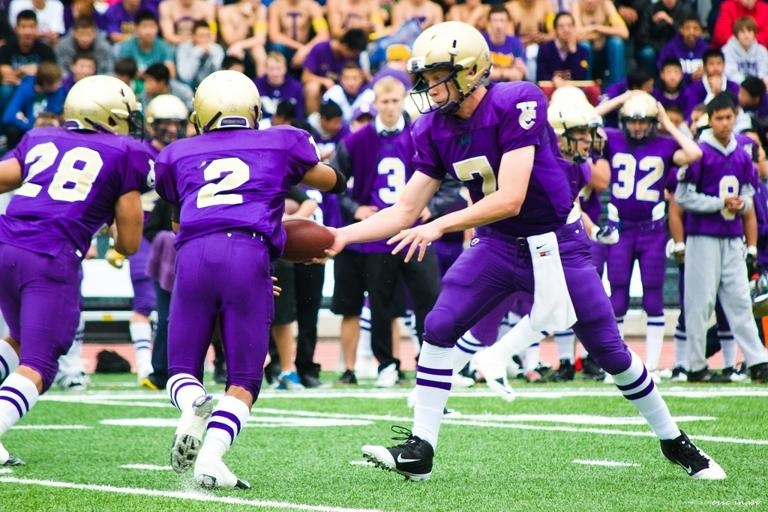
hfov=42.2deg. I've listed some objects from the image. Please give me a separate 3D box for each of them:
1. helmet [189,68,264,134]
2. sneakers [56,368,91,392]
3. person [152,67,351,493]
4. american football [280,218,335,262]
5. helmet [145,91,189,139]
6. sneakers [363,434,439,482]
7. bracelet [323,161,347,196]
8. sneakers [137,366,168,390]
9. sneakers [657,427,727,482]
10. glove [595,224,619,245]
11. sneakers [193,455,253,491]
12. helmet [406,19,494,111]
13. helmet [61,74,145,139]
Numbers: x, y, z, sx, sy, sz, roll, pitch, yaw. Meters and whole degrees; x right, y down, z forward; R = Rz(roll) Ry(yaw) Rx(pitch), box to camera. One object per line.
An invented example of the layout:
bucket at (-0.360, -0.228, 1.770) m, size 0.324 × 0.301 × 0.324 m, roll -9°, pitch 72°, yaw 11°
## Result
helmet at (-0.862, -0.820, 5.379) m, size 0.288 × 0.314 × 0.373 m, roll -4°, pitch 34°, yaw -7°
sneakers at (-2.708, 1.077, 8.637) m, size 0.161 × 0.166 × 0.221 m, roll 4°, pitch -2°, yaw 3°
person at (-0.808, 0.100, 5.336) m, size 0.868 × 2.251 × 0.434 m, roll 2°, pitch -2°, yaw -14°
american football at (-0.423, -0.108, 5.586) m, size 0.305 × 0.206 × 0.212 m, roll 2°, pitch 9°, yaw 23°
helmet at (-1.856, -1.221, 8.482) m, size 0.302 × 0.327 × 0.374 m, roll -2°, pitch 4°, yaw -20°
sneakers at (0.076, 1.101, 5.444) m, size 0.388 × 0.247 × 0.165 m, roll 2°, pitch -2°, yaw -2°
bracelet at (-0.236, -0.428, 5.639) m, size 0.185 × 0.077 × 0.143 m, roll 30°, pitch -38°, yaw -19°
sneakers at (-1.995, 1.056, 8.573) m, size 0.128 × 0.184 × 0.381 m, roll 5°, pitch 1°, yaw -26°
sneakers at (1.690, 1.100, 5.531) m, size 0.433 × 0.151 × 0.196 m, roll 32°, pitch -21°, yaw 40°
glove at (1.962, -0.170, 8.747) m, size 0.137 × 0.203 × 0.076 m, roll -18°, pitch 34°, yaw -38°
sneakers at (-0.857, 1.138, 5.194) m, size 0.382 × 0.174 × 0.123 m, roll 4°, pitch -3°, yaw -44°
helmet at (0.380, -1.057, 5.604) m, size 0.502 × 0.450 × 0.399 m, roll -27°, pitch 18°, yaw -25°
helmet at (-1.716, -0.914, 6.055) m, size 0.408 × 0.342 × 0.334 m, roll -8°, pitch 18°, yaw -41°
